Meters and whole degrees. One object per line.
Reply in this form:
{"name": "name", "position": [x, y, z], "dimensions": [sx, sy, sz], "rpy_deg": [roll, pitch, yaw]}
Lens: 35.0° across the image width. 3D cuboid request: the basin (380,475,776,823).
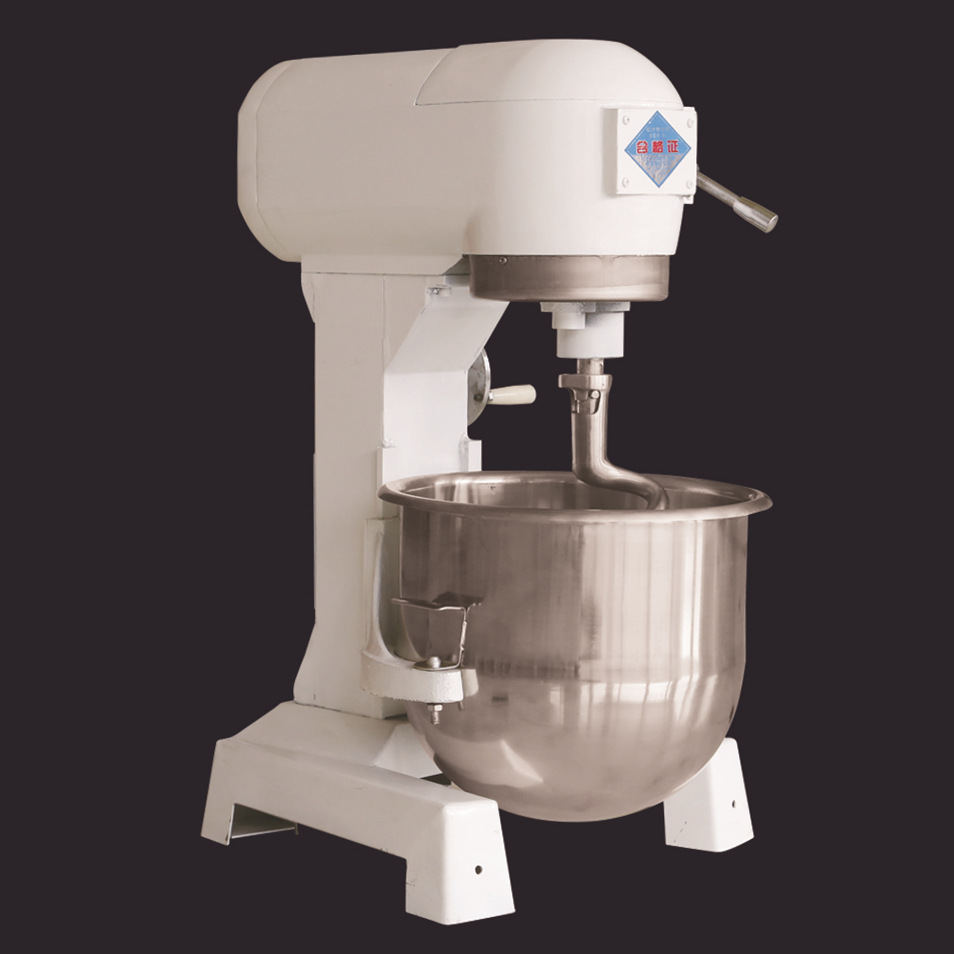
{"name": "basin", "position": [0.140, 0.234, 2.507], "dimensions": [0.652, 0.613, 0.444], "rpy_deg": [-3, 94, -28]}
